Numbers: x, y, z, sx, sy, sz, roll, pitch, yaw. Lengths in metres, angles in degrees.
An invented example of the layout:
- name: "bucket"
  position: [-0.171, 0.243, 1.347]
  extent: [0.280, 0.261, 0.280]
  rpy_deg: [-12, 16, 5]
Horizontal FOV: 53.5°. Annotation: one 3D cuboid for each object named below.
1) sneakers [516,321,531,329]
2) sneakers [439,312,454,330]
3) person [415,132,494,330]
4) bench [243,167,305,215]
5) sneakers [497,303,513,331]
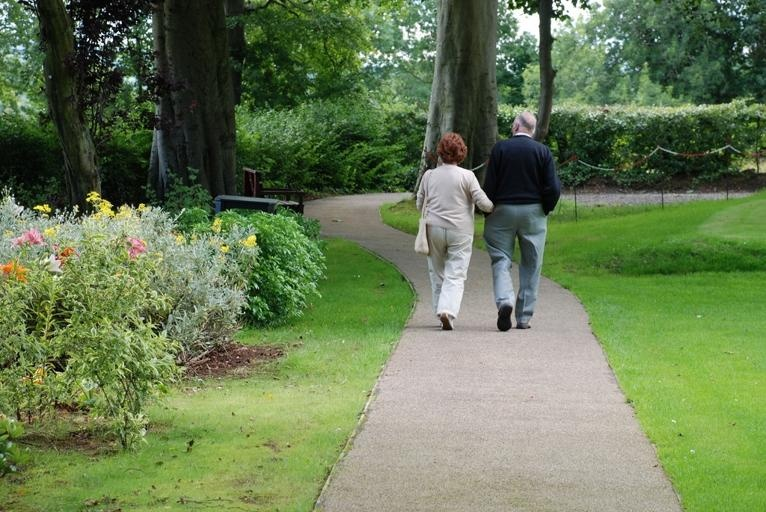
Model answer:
- name: "sneakers"
  position: [1.640, 0.816, 8.945]
  extent: [0.166, 0.073, 0.162]
  rpy_deg: [1, 13, 8]
- name: "sneakers"
  position: [0.718, 0.743, 8.756]
  extent: [0.162, 0.220, 0.179]
  rpy_deg: [0, 13, 4]
- name: "person"
  position: [0.710, -0.283, 9.014]
  extent: [0.908, 2.276, 1.021]
  rpy_deg: [6, 15, 29]
- name: "bench"
  position: [-2.527, -1.352, 16.702]
  extent: [1.499, 0.897, 0.622]
  rpy_deg: [1, 1, -7]
- name: "sneakers"
  position: [1.405, 0.712, 8.829]
  extent: [0.147, 0.328, 0.139]
  rpy_deg: [4, 1, -2]
